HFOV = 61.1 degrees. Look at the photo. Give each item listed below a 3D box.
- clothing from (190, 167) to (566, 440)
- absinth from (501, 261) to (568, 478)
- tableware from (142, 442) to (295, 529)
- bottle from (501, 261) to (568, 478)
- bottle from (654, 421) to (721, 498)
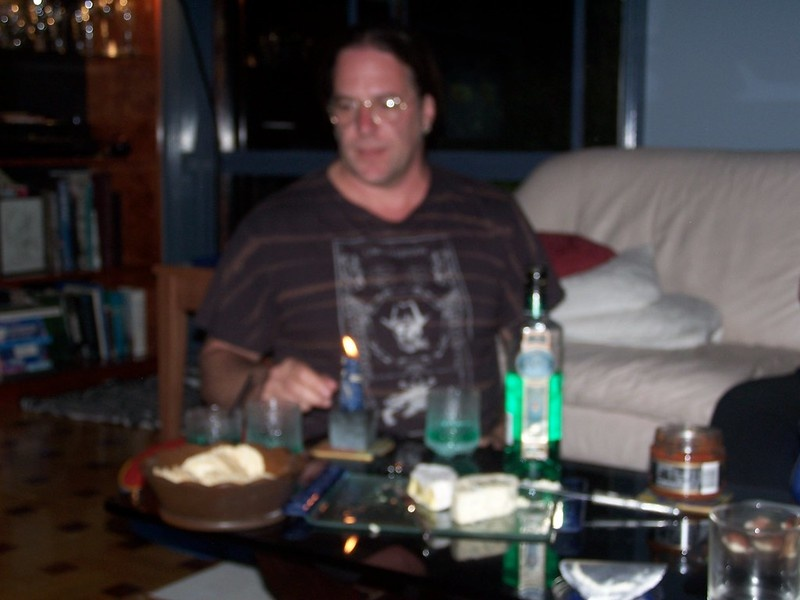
[{"bbox_3d":[-0.003,0.001,1.640,0.869,0.579,0.424,-8,19,0],"label":"clothing"},{"bbox_3d":[0.226,0.108,1.126,0.102,0.342,0.208,4,9,10],"label":"absinth"},{"bbox_3d":[-0.247,0.254,0.918,0.208,0.085,0.122,4,9,12],"label":"tableware"},{"bbox_3d":[0.226,0.108,1.128,0.102,0.342,0.213,4,9,10],"label":"bottle"},{"bbox_3d":[0.418,0.237,1.030,0.108,0.082,0.101,0,1,0],"label":"bottle"}]
